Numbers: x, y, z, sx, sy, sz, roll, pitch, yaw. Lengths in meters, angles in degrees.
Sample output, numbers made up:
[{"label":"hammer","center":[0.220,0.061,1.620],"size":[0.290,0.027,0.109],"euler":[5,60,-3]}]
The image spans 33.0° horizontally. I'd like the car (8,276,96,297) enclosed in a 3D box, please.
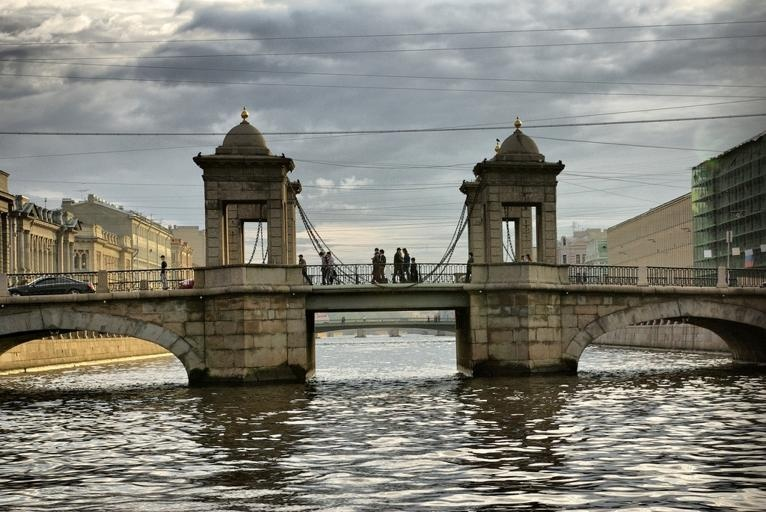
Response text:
[{"label":"car","center":[-17.329,1.215,67.569],"size":[4.837,1.105,1.800],"euler":[2,-7,-5]}]
